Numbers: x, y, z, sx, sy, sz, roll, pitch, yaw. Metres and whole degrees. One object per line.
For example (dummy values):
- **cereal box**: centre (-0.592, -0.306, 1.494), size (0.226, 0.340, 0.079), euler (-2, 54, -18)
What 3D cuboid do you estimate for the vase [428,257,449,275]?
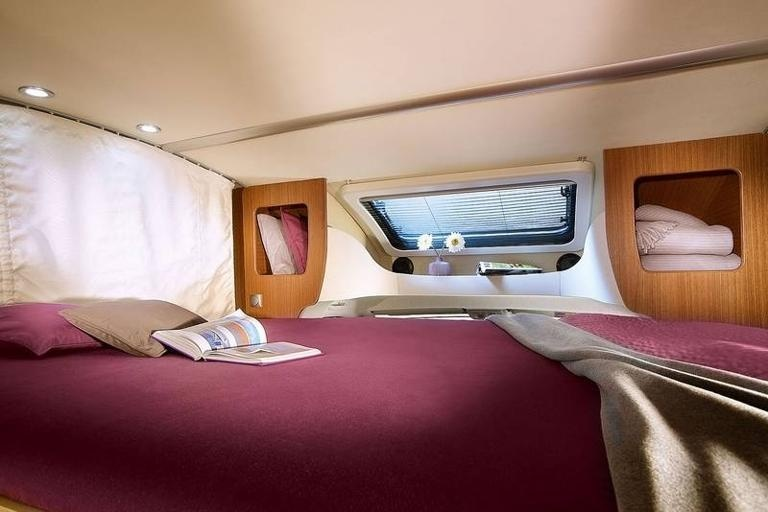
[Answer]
- **vase**: centre (0.522, 0.099, 4.156), size (0.195, 0.156, 0.175), euler (-1, 4, 0)

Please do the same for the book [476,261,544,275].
- **book**: centre (1.084, 0.109, 3.728), size (0.553, 0.139, 0.220), euler (-4, 11, 1)

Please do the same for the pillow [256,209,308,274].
- **pillow**: centre (-0.900, -0.110, 3.743), size (0.586, 0.496, 0.169), euler (4, -12, -38)

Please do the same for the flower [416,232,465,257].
- **flower**: centre (0.539, -0.114, 4.085), size (0.378, 0.195, 0.194), euler (2, 46, 13)
